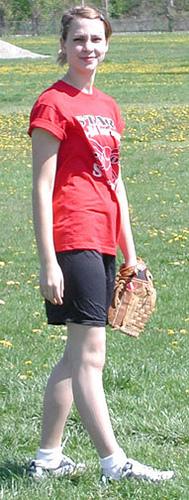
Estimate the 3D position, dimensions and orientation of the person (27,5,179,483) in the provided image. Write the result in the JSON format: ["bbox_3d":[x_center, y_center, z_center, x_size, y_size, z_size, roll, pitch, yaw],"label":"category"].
[{"bbox_3d":[-0.052,0.013,2.886,0.622,2.701,0.772,2,11,3],"label":"person"}]

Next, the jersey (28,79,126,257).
[{"bbox_3d":[-0.057,-0.446,2.816,0.372,0.941,0.621,10,14,37],"label":"jersey"}]

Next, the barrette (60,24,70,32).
[{"bbox_3d":[-0.167,-1.245,2.854,0.028,0.040,0.040,3,-33,-26],"label":"barrette"}]

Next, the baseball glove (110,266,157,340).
[{"bbox_3d":[0.246,0.305,3.107,0.149,0.445,0.283,14,16,29],"label":"baseball glove"}]
